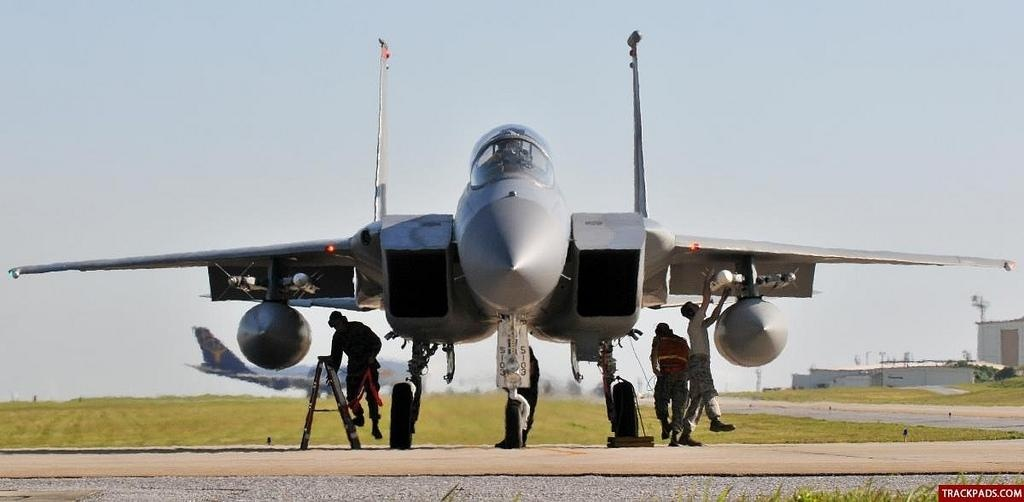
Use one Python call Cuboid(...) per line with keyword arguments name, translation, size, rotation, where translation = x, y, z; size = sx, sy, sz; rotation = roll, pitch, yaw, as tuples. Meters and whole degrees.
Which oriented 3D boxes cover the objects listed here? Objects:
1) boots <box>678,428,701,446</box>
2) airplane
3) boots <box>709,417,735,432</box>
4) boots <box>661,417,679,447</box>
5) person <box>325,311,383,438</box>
Cuboid(name="boots", translation=(4.202, 4.377, 36.207), size=(0.720, 0.374, 0.246), rotation=(-3, 2, -7))
Cuboid(name="airplane", translation=(0.103, 0.536, 40.878), size=(19.242, 6.859, 12.960), rotation=(-1, -3, -2))
Cuboid(name="boots", translation=(4.831, 4.024, 36.077), size=(0.538, 0.308, 0.305), rotation=(-1, -5, 7))
Cuboid(name="boots", translation=(3.794, 4.288, 36.570), size=(0.292, 0.494, 0.686), rotation=(-9, -48, -5))
Cuboid(name="person", translation=(-3.717, 2.695, 36.429), size=(1.160, 2.484, 0.565), rotation=(0, -6, -4))
